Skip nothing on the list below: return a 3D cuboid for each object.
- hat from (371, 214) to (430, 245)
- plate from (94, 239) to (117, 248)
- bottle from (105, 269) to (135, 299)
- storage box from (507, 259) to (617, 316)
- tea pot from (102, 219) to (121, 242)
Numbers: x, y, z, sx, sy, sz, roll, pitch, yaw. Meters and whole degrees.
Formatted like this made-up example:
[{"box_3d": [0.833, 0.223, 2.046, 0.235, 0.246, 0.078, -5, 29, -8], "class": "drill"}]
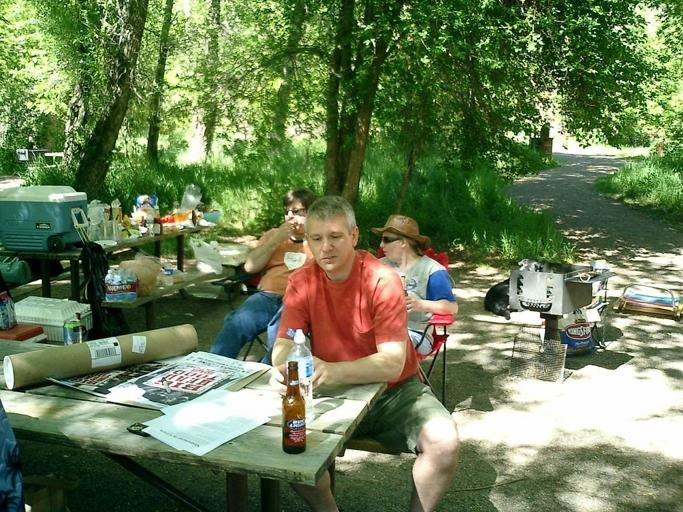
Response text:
[{"box_3d": [0.564, -0.182, 5.253, 0.373, 0.113, 0.330, 21, -11, -25], "class": "hat"}, {"box_3d": [-2.615, -0.135, 6.698, 0.207, 0.040, 0.374, -4, 13, -23], "class": "plate"}, {"box_3d": [-2.086, 0.288, 5.661, 0.278, 0.276, 0.203, -2, 14, -14], "class": "bottle"}, {"box_3d": [2.203, 0.311, 5.975, 0.688, 0.359, 0.818, 5, 6, 43], "class": "storage box"}, {"box_3d": [-2.654, -0.280, 6.905, 0.245, 0.221, 0.218, -6, 10, -44], "class": "tea pot"}]
